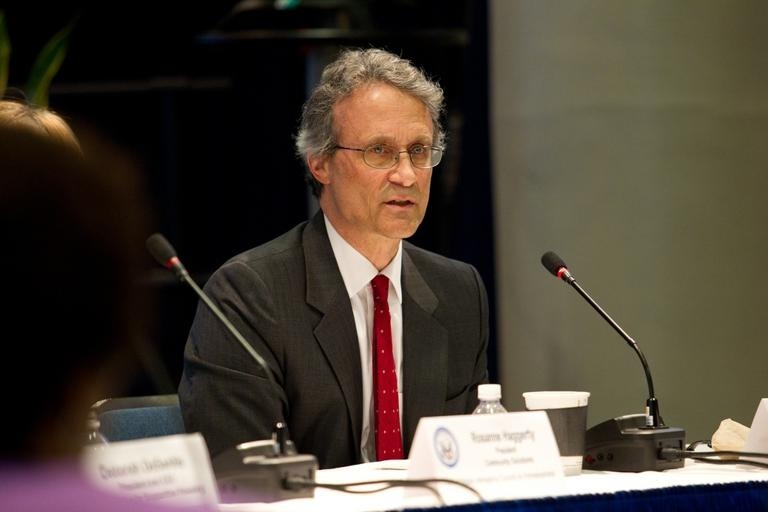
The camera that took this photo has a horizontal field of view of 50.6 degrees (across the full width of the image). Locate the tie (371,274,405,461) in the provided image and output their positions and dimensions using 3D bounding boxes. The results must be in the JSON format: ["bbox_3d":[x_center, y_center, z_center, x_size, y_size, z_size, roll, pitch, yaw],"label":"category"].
[{"bbox_3d":[0.009,0.345,2.580,0.098,0.569,0.239,-1,-1,-1],"label":"tie"}]

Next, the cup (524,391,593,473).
[{"bbox_3d":[0.457,0.478,2.199,0.182,0.207,0.192,-2,-5,0],"label":"cup"}]
